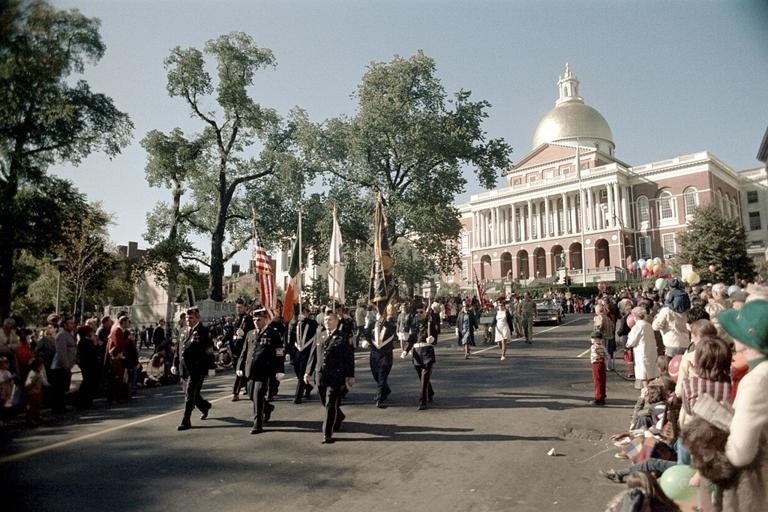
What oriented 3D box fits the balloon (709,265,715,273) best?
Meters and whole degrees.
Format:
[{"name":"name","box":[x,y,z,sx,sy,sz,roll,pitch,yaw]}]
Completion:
[{"name":"balloon","box":[20.571,0.731,39.818,0.400,0.334,0.545,0,-17,22]}]

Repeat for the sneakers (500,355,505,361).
[{"name":"sneakers","box":[4.419,3.768,23.609,0.104,0.139,0.336,-7,-28,22]}]

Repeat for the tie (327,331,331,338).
[{"name":"tie","box":[-1.249,1.774,14.504,0.121,0.126,0.029,-1,-8,1]}]

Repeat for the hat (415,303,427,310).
[{"name":"hat","box":[1.514,2.048,26.402,0.670,0.229,0.693,0,-8,1]}]

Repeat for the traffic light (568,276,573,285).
[{"name":"traffic light","box":[16.131,2.064,55.120,0.192,0.848,0.336,-6,-6,5]}]

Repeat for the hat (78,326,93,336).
[{"name":"hat","box":[-8.658,2.152,18.419,0.258,0.346,0.326,4,-1,26]}]

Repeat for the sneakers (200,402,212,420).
[{"name":"sneakers","box":[-4.468,3.861,15.843,0.197,0.577,0.239,6,-1,4]}]

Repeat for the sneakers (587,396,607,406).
[{"name":"sneakers","box":[5.355,3.616,15.968,0.494,0.235,0.207,2,-7,20]}]

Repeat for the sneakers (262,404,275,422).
[{"name":"sneakers","box":[-2.816,3.756,15.335,0.138,0.451,0.182,0,2,10]}]

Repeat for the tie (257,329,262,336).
[{"name":"tie","box":[-3.040,1.844,15.546,0.068,0.100,0.088,2,-5,-21]}]
